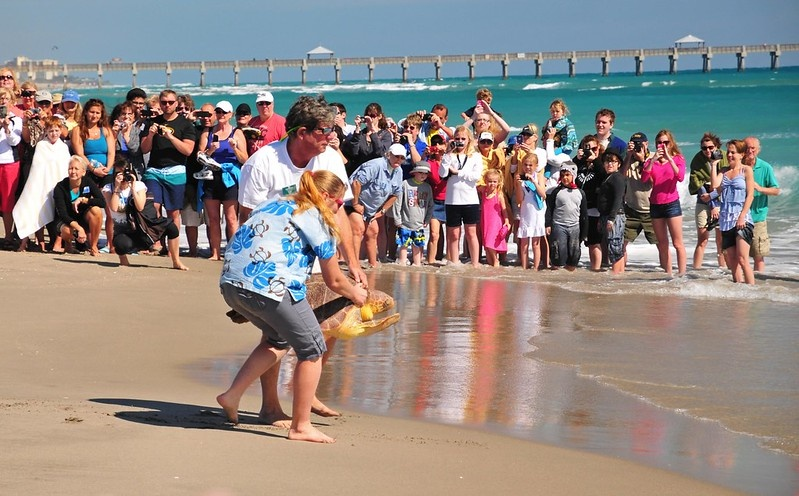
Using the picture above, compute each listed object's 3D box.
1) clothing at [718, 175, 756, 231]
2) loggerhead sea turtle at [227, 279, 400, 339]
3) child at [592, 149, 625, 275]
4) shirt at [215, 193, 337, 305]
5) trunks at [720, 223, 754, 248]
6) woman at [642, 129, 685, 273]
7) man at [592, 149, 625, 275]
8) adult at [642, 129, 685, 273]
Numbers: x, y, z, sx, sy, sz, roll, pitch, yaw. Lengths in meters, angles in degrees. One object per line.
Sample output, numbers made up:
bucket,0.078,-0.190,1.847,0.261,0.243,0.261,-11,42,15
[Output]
clothing,4.998,-0.690,17.674,0.502,0.849,0.338,6,9,39
loggerhead sea turtle,-0.832,0.601,12.887,1.640,0.488,0.929,7,34,-2
child,3.451,-0.575,19.229,0.438,1.995,0.442,1,7,10
shirt,-1.254,0.042,12.487,1.285,1.145,0.690,30,6,21
trunks,5.048,-0.199,17.632,0.207,0.290,0.348,1,-14,-42
woman,4.344,-0.748,19.288,0.738,2.374,0.857,2,7,13
man,3.451,-0.575,19.229,0.438,1.995,0.442,1,7,10
adult,4.341,-0.747,19.277,0.738,2.374,0.904,2,7,13
